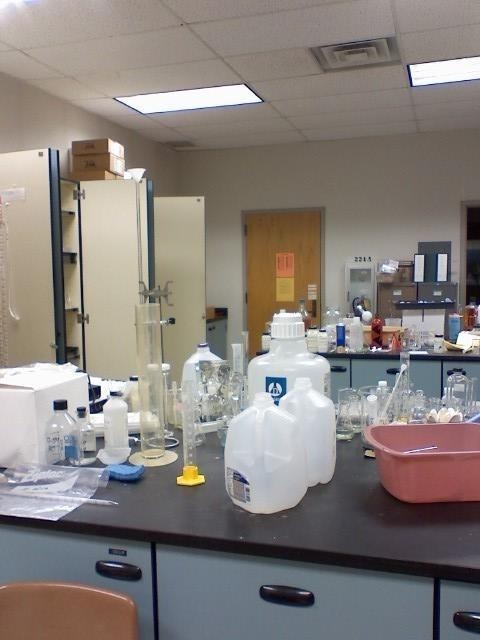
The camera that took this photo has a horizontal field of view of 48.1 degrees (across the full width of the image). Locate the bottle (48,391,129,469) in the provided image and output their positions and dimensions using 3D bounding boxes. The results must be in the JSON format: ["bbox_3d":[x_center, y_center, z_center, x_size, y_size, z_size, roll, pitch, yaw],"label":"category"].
[{"bbox_3d":[-0.413,0.302,1.444,0.152,0.174,0.056,-1,2,-38],"label":"bottle"}]

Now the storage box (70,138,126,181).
[{"bbox_3d":[-1.092,-1.211,4.071,0.309,0.267,0.371,-1,6,2],"label":"storage box"}]

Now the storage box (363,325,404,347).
[{"bbox_3d":[1.038,0.102,3.898,0.191,0.113,0.156,-1,0,25],"label":"storage box"}]

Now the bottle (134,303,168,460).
[{"bbox_3d":[-0.260,0.164,1.531,0.079,0.415,0.247,-3,3,-10],"label":"bottle"}]
